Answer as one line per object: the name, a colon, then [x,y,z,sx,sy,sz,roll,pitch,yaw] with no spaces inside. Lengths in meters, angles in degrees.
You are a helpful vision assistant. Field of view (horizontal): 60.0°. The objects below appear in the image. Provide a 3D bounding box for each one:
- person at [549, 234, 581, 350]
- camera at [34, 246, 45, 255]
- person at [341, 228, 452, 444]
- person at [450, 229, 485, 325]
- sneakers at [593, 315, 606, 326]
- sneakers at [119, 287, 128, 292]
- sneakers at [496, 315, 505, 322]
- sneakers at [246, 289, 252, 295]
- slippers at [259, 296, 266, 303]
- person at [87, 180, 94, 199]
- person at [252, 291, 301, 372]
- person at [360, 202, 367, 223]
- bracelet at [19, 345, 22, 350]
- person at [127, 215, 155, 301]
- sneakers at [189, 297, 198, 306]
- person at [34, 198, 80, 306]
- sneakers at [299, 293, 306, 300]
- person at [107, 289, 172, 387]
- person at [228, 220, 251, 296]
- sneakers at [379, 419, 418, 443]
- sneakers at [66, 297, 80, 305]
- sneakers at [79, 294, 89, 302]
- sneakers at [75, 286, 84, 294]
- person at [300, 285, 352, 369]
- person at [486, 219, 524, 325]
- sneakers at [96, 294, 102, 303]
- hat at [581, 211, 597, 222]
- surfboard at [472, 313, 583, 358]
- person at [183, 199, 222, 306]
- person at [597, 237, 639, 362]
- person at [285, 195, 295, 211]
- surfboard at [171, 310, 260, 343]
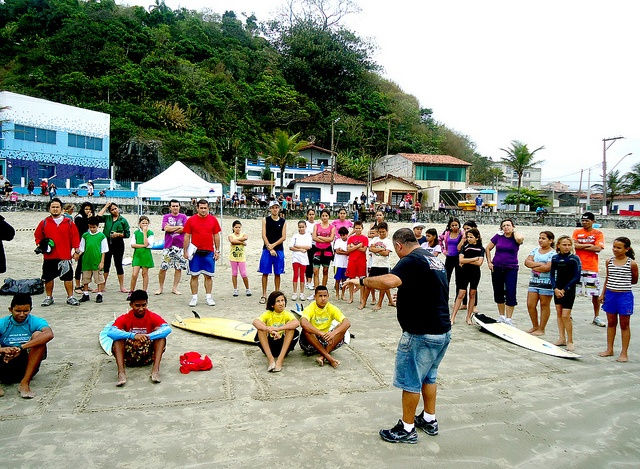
person: [4.149,0.999,9.355,0.473,1.919,0.496,1,2,26]
camera: [-5.134,0.306,10.118,0.177,0.074,0.231,-14,-1,-27]
person: [1.199,1.299,7.034,0.894,2.718,0.372,0,2,7]
person: [2.834,0.797,10.579,0.605,1.823,0.711,0,2,17]
sneakers: [5.385,1.694,10.642,0.095,0.116,0.245,-1,0,-10]
sneakers: [-4.205,1.198,11.859,0.101,0.065,0.259,-1,-3,-26]
sneakers: [3.354,1.577,10.259,0.089,0.138,0.135,3,-17,-7]
sneakers: [-1.561,1.284,12.138,0.104,0.126,0.288,0,-6,-6]
slippers: [-1.174,1.366,11.458,0.120,0.100,0.319,0,1,-1]
person: [-13.512,-2.652,32.641,0.354,0.954,1.427,-1,2,-23]
person: [-0.673,1.487,8.515,0.693,1.177,0.388,-1,2,-6]
person: [2.492,-1.241,31.640,0.428,1.010,0.719,0,2,4]
bracelet: [-4.120,1.566,7.621,0.045,0.047,0.012,19,18,34]
person: [-3.730,0.432,11.542,0.453,1.614,0.882,-1,2,-20]
sneakers: [-2.515,1.329,11.010,0.153,0.196,0.276,-1,2,-15]
person: [-4.904,0.356,10.391,0.736,2.048,0.732,-1,2,-25]
sneakers: [-0.373,1.342,11.813,0.106,0.141,0.324,0,-5,-5]
person: [-2.647,1.488,8.114,0.847,1.325,0.616,-1,2,-22]
person: [-1.721,0.525,11.983,0.451,1.637,1.328,-1,2,-8]
sneakers: [1.015,2.552,7.141,0.494,0.267,0.210,3,-7,4]
sneakers: [-4.717,1.281,10.607,0.105,0.129,0.285,-5,3,-44]
sneakers: [-4.646,1.258,10.927,0.180,0.140,0.248,-1,2,-22]
sneakers: [-4.946,1.162,11.390,0.202,0.087,0.107,-4,-1,44]
person: [0.026,1.465,8.800,0.766,1.245,0.901,2,-8,-21]
person: [3.399,0.726,10.229,0.639,1.997,0.582,0,2,10]
sneakers: [-4.363,1.261,10.962,0.123,0.172,0.266,-1,2,-23]
hat: [5.118,-0.333,10.486,0.187,0.204,0.242,9,15,-15]
surfboard: [3.503,1.812,9.590,0.496,0.239,2.062,-4,8,-16]
person: [-2.359,0.374,11.074,0.719,2.128,0.581,-1,2,-16]
person: [4.884,1.049,9.041,0.532,1.992,0.553,1,3,31]
person: [-1.796,-1.904,33.838,0.575,0.606,1.735,3,6,2]
surfboard: [-1.797,1.628,9.616,1.719,0.260,0.565,10,18,32]
